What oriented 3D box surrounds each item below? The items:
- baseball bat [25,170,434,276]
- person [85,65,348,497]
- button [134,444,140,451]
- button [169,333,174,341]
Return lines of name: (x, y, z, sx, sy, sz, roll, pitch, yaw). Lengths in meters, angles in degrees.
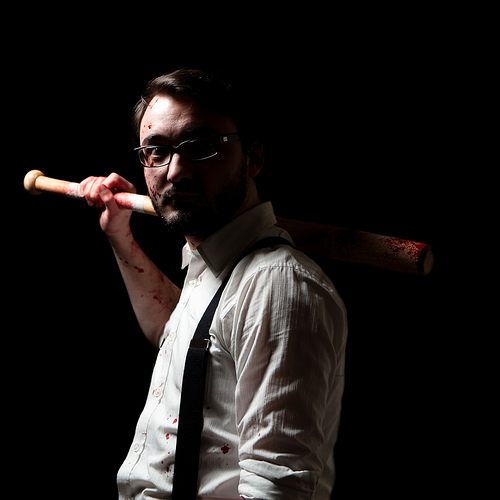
baseball bat: (-0.013, -0.079, 1.830, 0.866, 0.094, 0.095, 17, -13, 20)
person: (-0.055, 0.093, 1.463, 0.612, 0.906, 0.443, 12, 17, 27)
button: (-0.252, 0.437, 1.484, 0.007, 0.016, 0.021, -7, 20, -35)
button: (-0.181, 0.198, 1.535, 0.003, 0.012, 0.011, 12, -19, -31)
